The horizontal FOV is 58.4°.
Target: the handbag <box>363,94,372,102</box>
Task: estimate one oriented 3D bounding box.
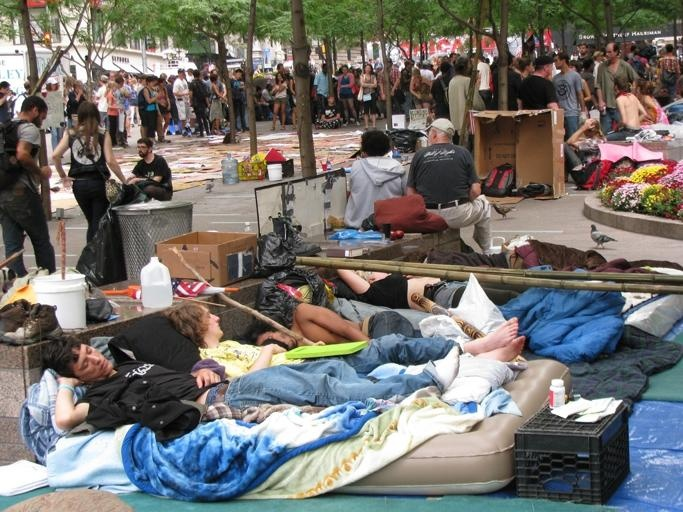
[{"bbox_3d":[1.062,-6.656,25.412,0.356,0.331,0.133,-3,18,4],"label":"handbag"}]

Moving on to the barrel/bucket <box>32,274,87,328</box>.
[{"bbox_3d":[-2.225,0.349,5.016,0.471,0.421,0.423,-1,8,-14],"label":"barrel/bucket"}]

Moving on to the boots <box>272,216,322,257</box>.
[{"bbox_3d":[-0.560,-0.212,7.301,0.608,0.197,0.444,22,26,26],"label":"boots"}]

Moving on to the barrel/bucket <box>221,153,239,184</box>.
[{"bbox_3d":[-2.790,-2.198,15.339,0.389,0.783,0.576,-5,8,-6],"label":"barrel/bucket"}]

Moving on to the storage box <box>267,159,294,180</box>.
[{"bbox_3d":[-1.523,-2.107,14.640,0.687,0.465,0.546,0,4,12],"label":"storage box"}]

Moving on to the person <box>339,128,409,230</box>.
[{"bbox_3d":[0.479,-1.164,8.961,0.993,1.451,0.741,-6,8,-15],"label":"person"}]

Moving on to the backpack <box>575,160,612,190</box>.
[{"bbox_3d":[5.411,-1.774,13.270,0.361,0.631,1.070,-5,7,-7],"label":"backpack"}]

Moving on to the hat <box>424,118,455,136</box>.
[{"bbox_3d":[1.473,-1.944,9.084,0.348,0.186,0.252,5,0,13],"label":"hat"}]

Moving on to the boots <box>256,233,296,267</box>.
[{"bbox_3d":[-0.741,-0.067,6.690,0.308,0.140,0.420,-2,38,-8],"label":"boots"}]

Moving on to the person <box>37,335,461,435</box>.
[{"bbox_3d":[-0.760,0.947,4.423,2.475,0.613,1.128,-4,7,7],"label":"person"}]

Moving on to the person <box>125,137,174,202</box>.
[{"bbox_3d":[-3.099,-1.420,9.838,0.643,1.000,1.013,-7,8,-21],"label":"person"}]

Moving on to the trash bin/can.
[{"bbox_3d":[-2.022,-0.247,6.943,0.575,0.587,0.580,0,8,33],"label":"trash bin/can"}]

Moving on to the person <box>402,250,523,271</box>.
[{"bbox_3d":[1.521,0.044,7.262,1.201,0.225,0.606,-5,7,-12],"label":"person"}]

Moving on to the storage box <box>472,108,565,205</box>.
[{"bbox_3d":[4.050,-2.446,13.608,1.815,1.711,1.311,12,27,42],"label":"storage box"}]

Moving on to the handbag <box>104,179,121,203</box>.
[{"bbox_3d":[-2.682,-0.778,7.234,0.169,0.287,0.350,-6,8,-19],"label":"handbag"}]

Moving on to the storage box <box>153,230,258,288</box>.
[{"bbox_3d":[-1.473,-0.014,6.410,0.722,0.409,0.719,5,14,22],"label":"storage box"}]

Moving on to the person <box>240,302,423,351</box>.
[{"bbox_3d":[-0.048,0.690,5.995,1.834,0.477,0.647,-1,10,11],"label":"person"}]

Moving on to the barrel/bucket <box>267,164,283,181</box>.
[{"bbox_3d":[-1.519,-1.857,13.562,0.406,0.376,0.400,-2,8,0],"label":"barrel/bucket"}]
